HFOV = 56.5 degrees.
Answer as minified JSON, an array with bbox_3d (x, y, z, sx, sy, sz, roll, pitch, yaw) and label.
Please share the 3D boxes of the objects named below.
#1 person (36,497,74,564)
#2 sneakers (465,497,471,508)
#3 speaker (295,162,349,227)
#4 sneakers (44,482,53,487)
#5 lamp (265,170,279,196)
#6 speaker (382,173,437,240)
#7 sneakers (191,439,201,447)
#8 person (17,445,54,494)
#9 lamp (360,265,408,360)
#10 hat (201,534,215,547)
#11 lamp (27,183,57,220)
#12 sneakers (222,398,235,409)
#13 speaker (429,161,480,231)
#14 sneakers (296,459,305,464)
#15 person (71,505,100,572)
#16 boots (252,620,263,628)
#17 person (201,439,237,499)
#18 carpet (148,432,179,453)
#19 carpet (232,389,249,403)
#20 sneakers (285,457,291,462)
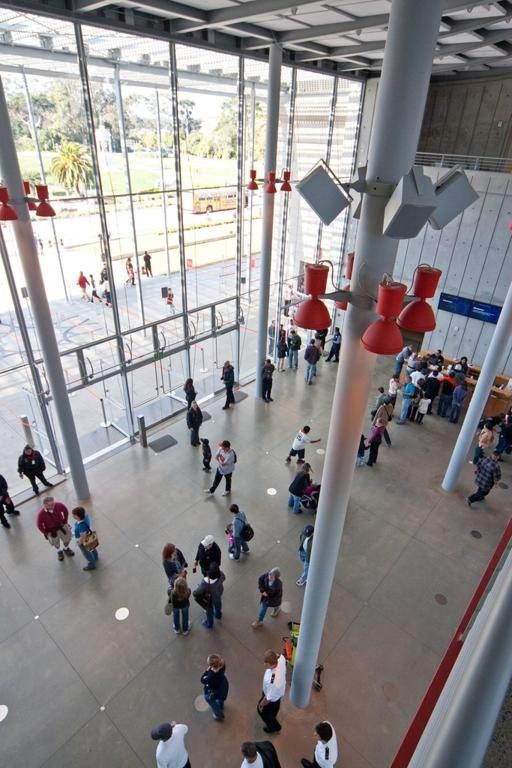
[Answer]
[{"bbox_3d":[-3.347,2.395,7.950,0.453,1.492,0.534,-11,30,-21],"label":"person"},{"bbox_3d":[4.323,2.455,9.707,0.089,0.194,0.083,-3,19,32],"label":"sneakers"},{"bbox_3d":[0.478,-1.287,3.261,0.331,0.427,0.550,9,28,16],"label":"speaker"},{"bbox_3d":[-4.177,2.071,9.623,0.054,0.109,0.160,-21,33,-39],"label":"sneakers"},{"bbox_3d":[0.283,-4.530,10.739,0.171,0.417,0.449,-8,28,-17],"label":"lamp"},{"bbox_3d":[0.928,-1.064,2.861,0.292,0.427,0.399,7,28,11],"label":"speaker"},{"bbox_3d":[-1.424,1.412,11.191,0.104,0.166,0.098,-33,62,-29],"label":"sneakers"},{"bbox_3d":[-4.215,1.665,8.975,0.316,1.035,0.533,21,37,41],"label":"person"},{"bbox_3d":[0.820,-0.354,3.045,0.258,0.570,0.595,8,28,13],"label":"lamp"},{"bbox_3d":[-0.658,2.225,6.722,0.137,0.099,0.197,10,-2,34],"label":"hat"},{"bbox_3d":[-3.141,-2.635,6.887,0.314,0.452,0.855,-11,29,-22],"label":"lamp"},{"bbox_3d":[-0.715,0.571,12.910,0.139,0.275,0.406,24,41,40],"label":"sneakers"},{"bbox_3d":[1.232,-1.149,2.978,0.254,0.367,0.404,10,28,16],"label":"speaker"},{"bbox_3d":[0.973,1.695,10.194,0.149,0.122,0.144,-2,1,-6],"label":"sneakers"},{"bbox_3d":[-2.845,2.648,7.926,0.428,1.188,0.458,6,53,-5],"label":"person"},{"bbox_3d":[0.022,3.542,6.990,0.076,0.059,0.156,8,10,36],"label":"boots"},{"bbox_3d":[-0.674,1.667,9.248,0.583,1.162,0.402,-3,22,-26],"label":"person"},{"bbox_3d":[-2.211,1.451,11.292,0.581,0.036,0.734,22,33,36],"label":"carpet"},{"bbox_3d":[-0.450,0.390,13.523,0.308,0.096,0.432,-30,49,-28],"label":"carpet"},{"bbox_3d":[0.719,1.739,10.659,0.075,0.116,0.114,-11,15,-18],"label":"sneakers"}]
